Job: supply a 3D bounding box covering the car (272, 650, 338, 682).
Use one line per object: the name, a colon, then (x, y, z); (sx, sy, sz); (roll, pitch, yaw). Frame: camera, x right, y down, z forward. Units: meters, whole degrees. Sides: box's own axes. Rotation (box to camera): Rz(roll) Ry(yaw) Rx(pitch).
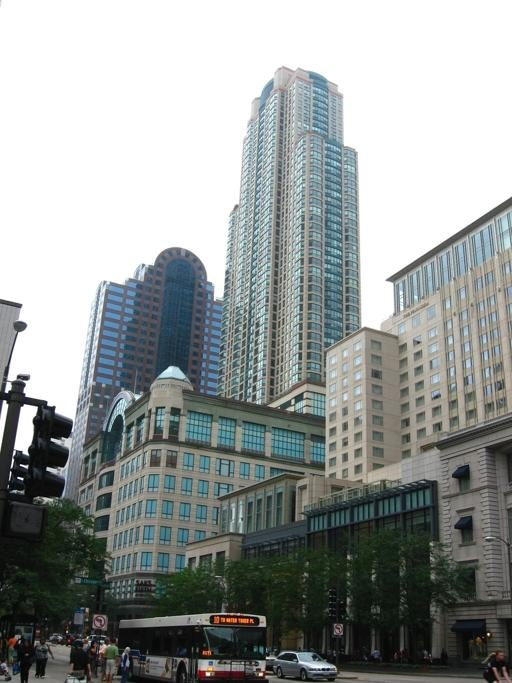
car: (2.639, 17.176, 36.150); (1.711, 1.151, 3.623); (13, -29, -25)
